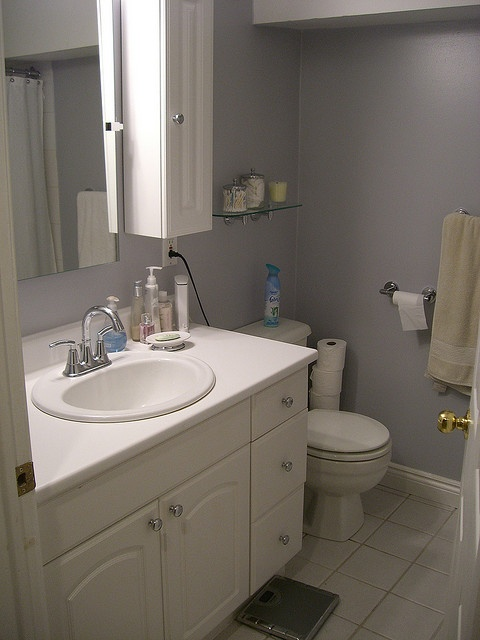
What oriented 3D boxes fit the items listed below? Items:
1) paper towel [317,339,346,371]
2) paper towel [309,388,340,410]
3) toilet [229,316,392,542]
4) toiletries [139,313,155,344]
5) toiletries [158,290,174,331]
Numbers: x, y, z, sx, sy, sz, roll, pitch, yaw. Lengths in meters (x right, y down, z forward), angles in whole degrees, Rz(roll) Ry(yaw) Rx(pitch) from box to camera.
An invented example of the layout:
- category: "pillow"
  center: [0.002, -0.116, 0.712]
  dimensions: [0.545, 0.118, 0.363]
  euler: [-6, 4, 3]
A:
- category: "paper towel"
  center: [0.396, 0.155, 2.386]
  dimensions: [0.119, 0.141, 0.123]
  euler: [18, 31, 30]
- category: "paper towel"
  center: [0.377, 0.337, 2.422]
  dimensions: [0.090, 0.109, 0.097]
  euler: [9, 11, 42]
- category: "toilet"
  center: [0.288, 0.467, 2.085]
  dimensions: [0.551, 0.690, 0.413]
  euler: [9, 13, 15]
- category: "toiletries"
  center: [-0.279, 0.028, 1.598]
  dimensions: [0.044, 0.084, 0.070]
  euler: [-2, 11, -10]
- category: "toiletries"
  center: [-0.243, -0.029, 1.687]
  dimensions: [0.052, 0.143, 0.057]
  euler: [-2, 36, -10]
